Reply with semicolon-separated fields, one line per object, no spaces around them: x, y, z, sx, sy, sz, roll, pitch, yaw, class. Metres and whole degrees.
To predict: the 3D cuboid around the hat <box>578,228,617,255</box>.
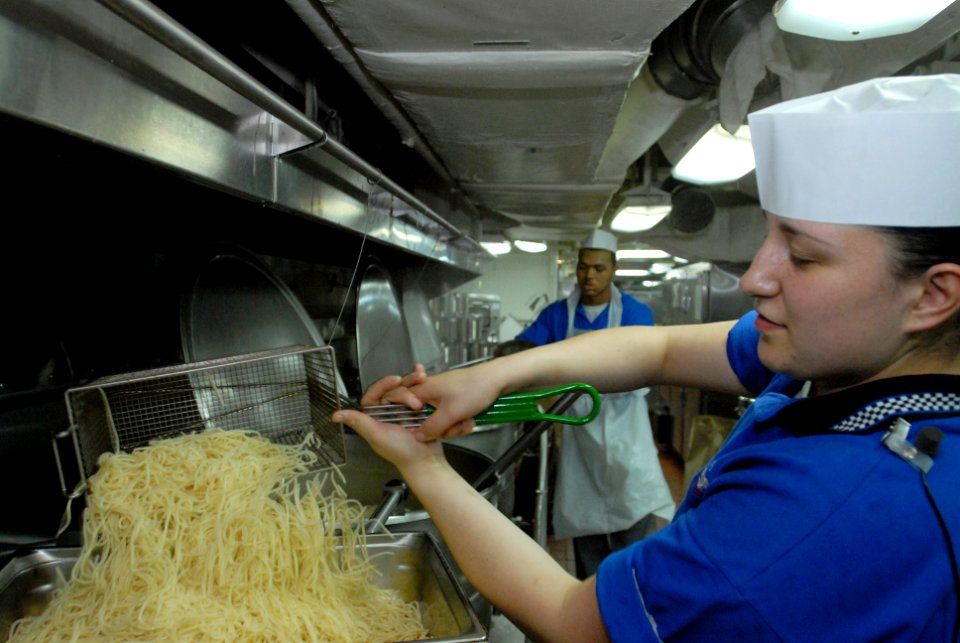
0.617;-0.406;3.377;0.164;0.095;0.128;-14;-10;38;hat

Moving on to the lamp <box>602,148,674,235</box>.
1.086;-0.904;4.447;0.300;0.572;0.959;1;-5;5;lamp

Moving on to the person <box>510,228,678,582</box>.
0.527;0.483;2.988;0.682;1.740;0.680;-7;16;-6;person
